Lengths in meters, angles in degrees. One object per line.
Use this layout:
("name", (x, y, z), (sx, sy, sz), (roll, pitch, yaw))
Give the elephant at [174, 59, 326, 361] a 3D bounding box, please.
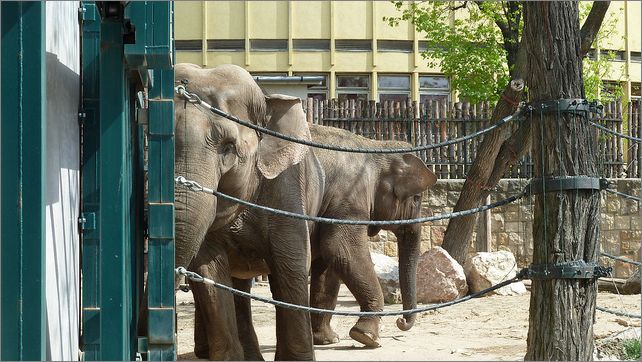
("elephant", (-1.119, 0.433, 22.005), (2.247, 4.523, 1.113), (0, -5, -15))
